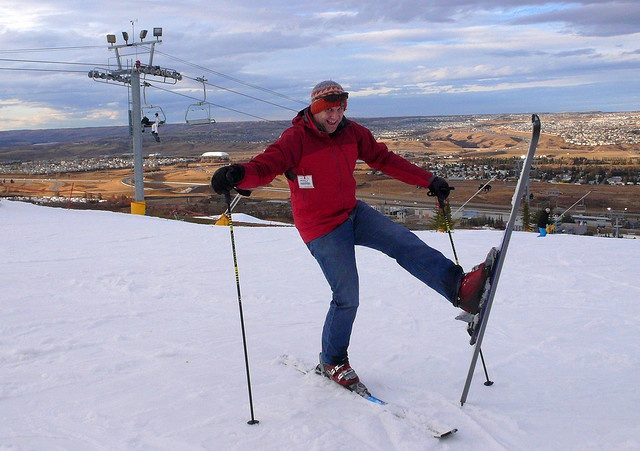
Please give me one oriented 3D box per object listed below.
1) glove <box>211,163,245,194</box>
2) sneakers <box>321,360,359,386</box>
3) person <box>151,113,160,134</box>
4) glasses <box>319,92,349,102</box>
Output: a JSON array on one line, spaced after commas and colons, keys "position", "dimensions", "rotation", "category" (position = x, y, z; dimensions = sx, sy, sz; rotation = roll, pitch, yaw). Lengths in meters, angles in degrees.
[{"position": [-0.739, -0.362, 4.693], "dimensions": [0.266, 0.242, 0.148], "rotation": [-2, 17, -8], "category": "glove"}, {"position": [0.180, 1.217, 4.882], "dimensions": [0.328, 0.101, 0.146], "rotation": [7, 11, 42], "category": "sneakers"}, {"position": [-5.513, -3.353, 19.506], "dimensions": [0.292, 0.671, 0.481], "rotation": [-4, 17, -12], "category": "person"}, {"position": [0.122, -1.015, 4.672], "dimensions": [0.205, 0.074, 0.123], "rotation": [-1, 14, -6], "category": "glasses"}]
